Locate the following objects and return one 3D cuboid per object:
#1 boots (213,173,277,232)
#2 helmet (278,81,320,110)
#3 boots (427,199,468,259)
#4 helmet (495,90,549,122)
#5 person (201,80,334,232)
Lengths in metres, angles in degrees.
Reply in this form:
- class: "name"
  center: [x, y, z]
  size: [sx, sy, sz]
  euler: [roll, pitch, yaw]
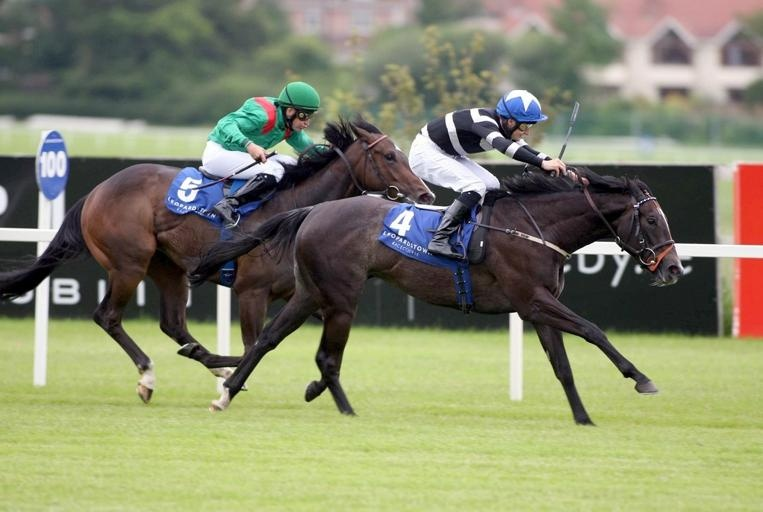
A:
- class: "boots"
  center: [-1.274, -0.493, 12.379]
  size: [0.718, 0.304, 0.263]
  euler: [-28, 18, -16]
- class: "helmet"
  center: [-0.772, -1.492, 12.625]
  size: [0.362, 0.189, 0.272]
  euler: [2, 7, 13]
- class: "boots"
  center: [0.582, -0.227, 11.721]
  size: [0.320, 0.488, 0.236]
  euler: [3, 16, 6]
- class: "helmet"
  center: [1.257, -1.338, 12.010]
  size: [0.531, 0.236, 0.354]
  euler: [10, 27, -3]
- class: "person"
  center: [-1.017, -0.960, 12.730]
  size: [1.210, 1.300, 1.036]
  euler: [0, 10, -23]
